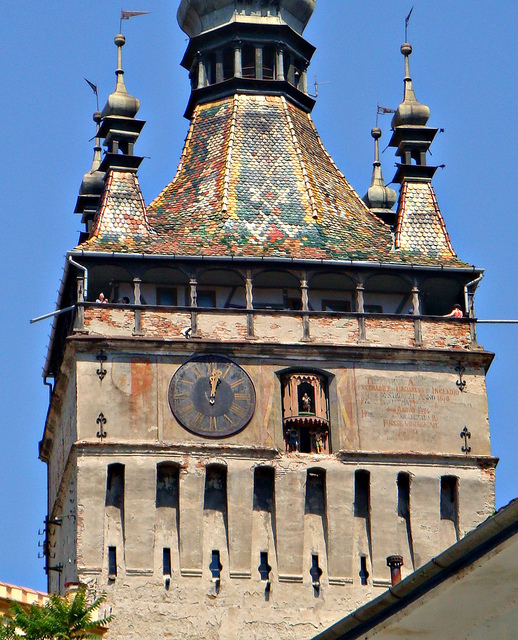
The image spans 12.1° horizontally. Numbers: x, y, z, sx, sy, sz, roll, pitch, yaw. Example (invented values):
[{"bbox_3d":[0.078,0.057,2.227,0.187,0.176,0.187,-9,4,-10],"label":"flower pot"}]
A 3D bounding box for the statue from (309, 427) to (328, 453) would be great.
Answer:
[{"bbox_3d":[1.356,2.497,51.298,0.375,0.493,0.195,-2,-27,2],"label":"statue"}]

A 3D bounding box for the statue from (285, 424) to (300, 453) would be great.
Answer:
[{"bbox_3d":[0.821,2.510,51.209,0.341,0.612,0.212,22,-35,-37],"label":"statue"}]

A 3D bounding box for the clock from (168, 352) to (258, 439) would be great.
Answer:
[{"bbox_3d":[-0.896,1.580,51.094,1.894,2.162,0.129,5,-38,-6],"label":"clock"}]

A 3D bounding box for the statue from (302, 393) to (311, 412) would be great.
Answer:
[{"bbox_3d":[1.108,1.717,51.469,0.180,0.488,0.121,4,-27,-9],"label":"statue"}]

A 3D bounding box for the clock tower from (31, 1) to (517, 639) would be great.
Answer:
[{"bbox_3d":[-0.196,1.814,57.094,11.655,19.974,12.692,1,-19,-7],"label":"clock tower"}]
